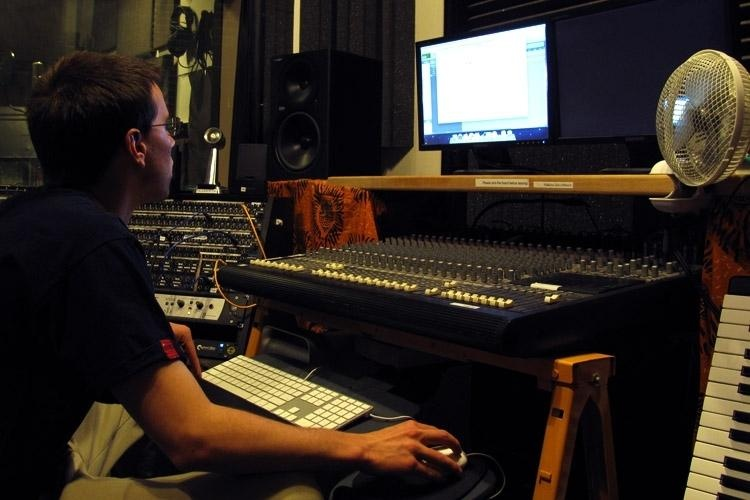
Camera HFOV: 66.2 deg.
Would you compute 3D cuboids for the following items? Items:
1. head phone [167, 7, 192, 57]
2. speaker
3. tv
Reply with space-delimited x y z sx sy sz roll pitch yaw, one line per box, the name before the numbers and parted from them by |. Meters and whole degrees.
head phone | -1.397 -1.574 4.121 0.102 0.282 0.206 -5 15 -23
speaker | -0.243 -0.654 2.895 0.557 0.610 0.566 0 8 -2
tv | 0.442 -0.595 2.342 0.602 0.552 0.224 6 14 40
